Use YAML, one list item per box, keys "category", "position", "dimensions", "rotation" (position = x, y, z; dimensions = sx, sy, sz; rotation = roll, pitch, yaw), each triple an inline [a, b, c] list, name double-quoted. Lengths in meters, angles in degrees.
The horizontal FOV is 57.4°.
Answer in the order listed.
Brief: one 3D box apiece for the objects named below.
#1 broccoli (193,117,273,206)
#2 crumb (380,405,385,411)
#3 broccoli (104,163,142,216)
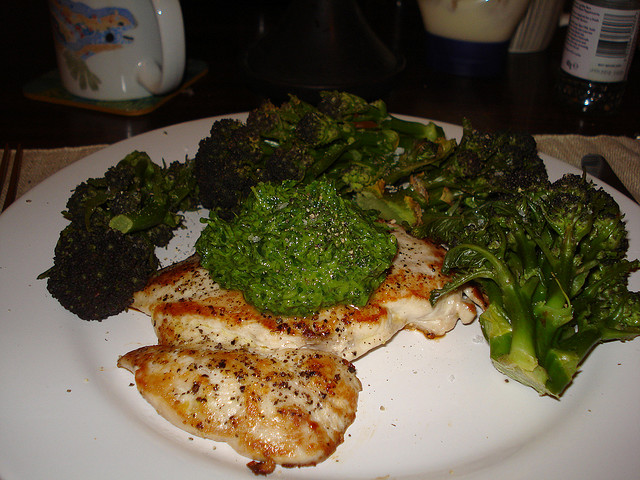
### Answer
- category: "broccoli"
  position: [-0.397, -0.381, 2.932]
  dimensions: [0.350, 0.164, 0.405]
  rotation: [-40, 67, 17]
- category: "crumb"
  position: [0.254, 0.684, 2.379]
  dimensions: [0.011, 0.004, 0.015]
  rotation: [0, 47, 0]
- category: "broccoli"
  position: [-0.886, -0.242, 2.690]
  dimensions: [0.160, 0.239, 0.173]
  rotation: [-6, 20, -22]
